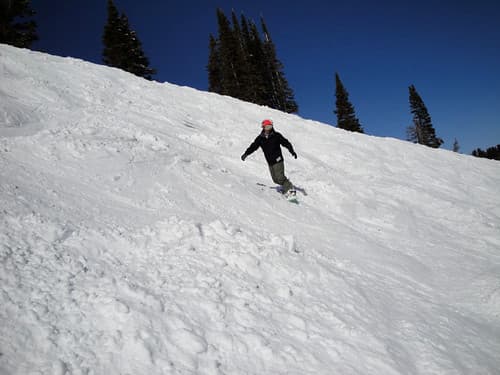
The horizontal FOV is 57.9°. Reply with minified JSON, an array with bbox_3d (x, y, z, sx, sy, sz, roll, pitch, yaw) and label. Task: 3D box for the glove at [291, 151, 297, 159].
[{"bbox_3d":[1.536,-1.117,15.257,0.222,0.056,0.225,31,-19,35],"label":"glove"}]
